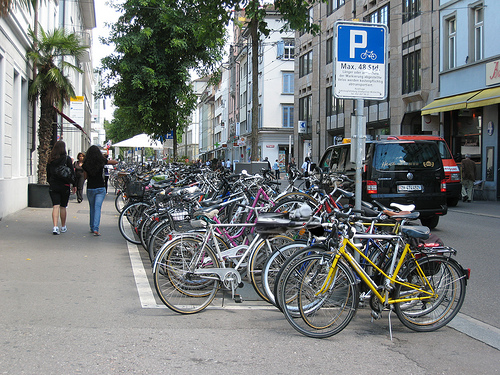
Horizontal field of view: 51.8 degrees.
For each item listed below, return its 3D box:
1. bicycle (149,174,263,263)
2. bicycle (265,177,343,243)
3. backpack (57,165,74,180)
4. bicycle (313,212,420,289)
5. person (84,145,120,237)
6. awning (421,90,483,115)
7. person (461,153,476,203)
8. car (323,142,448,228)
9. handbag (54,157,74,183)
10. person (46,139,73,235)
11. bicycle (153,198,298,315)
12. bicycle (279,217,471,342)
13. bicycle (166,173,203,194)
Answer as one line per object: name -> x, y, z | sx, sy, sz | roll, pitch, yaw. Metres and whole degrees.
bicycle -> -0.555, 0.434, 7.000 | 1.614, 1.123, 0.844 | -7, 2, -13
bicycle -> 0.802, 0.276, 7.473 | 1.224, 0.818, 0.615 | 16, 10, -39
backpack -> -3.898, -0.318, 10.887 | 0.295, 0.313, 0.134 | -2, 3, -19
bicycle -> 1.308, 0.604, 5.438 | 1.161, 0.813, 0.610 | 4, 2, -15
person -> -3.278, 0.062, 10.997 | 0.482, 1.921, 0.429 | -1, 2, 1
awning -> 9.227, -4.251, 23.939 | 3.392, 1.251, 0.776 | -14, 23, -30
person -> 8.925, -0.375, 21.119 | 0.535, 1.935, 0.969 | 0, 3, 23
car -> 3.071, -0.247, 12.357 | 1.754, 1.750, 3.027 | 0, 7, -16
handbag -> -3.936, -0.353, 10.918 | 0.217, 0.487, 0.349 | -16, -29, 36
person -> -4.083, 0.001, 11.177 | 0.605, 2.018, 0.743 | -3, -5, 4
bicycle -> -0.190, 0.801, 6.174 | 1.826, 1.267, 0.871 | 0, -11, -18
bicycle -> 1.308, 0.922, 5.456 | 2.018, 1.247, 0.464 | 0, 1, -6
bicycle -> -1.155, -0.031, 9.087 | 0.580, 0.359, 0.306 | -12, 20, -6
